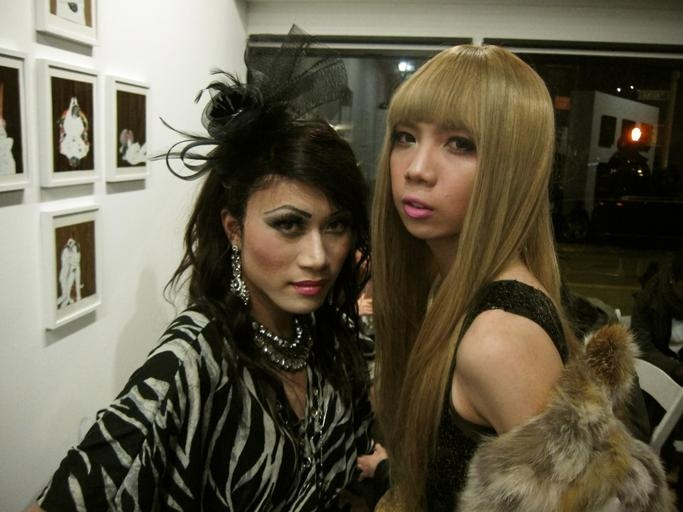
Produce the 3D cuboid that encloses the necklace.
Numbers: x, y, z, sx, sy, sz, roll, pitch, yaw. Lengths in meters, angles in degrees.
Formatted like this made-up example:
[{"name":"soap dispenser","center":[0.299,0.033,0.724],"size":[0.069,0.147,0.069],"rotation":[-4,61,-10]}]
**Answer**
[{"name":"necklace","center":[-0.159,0.396,1.848],"size":[0.236,0.416,0.071],"rotation":[3,-9,-42]}]
